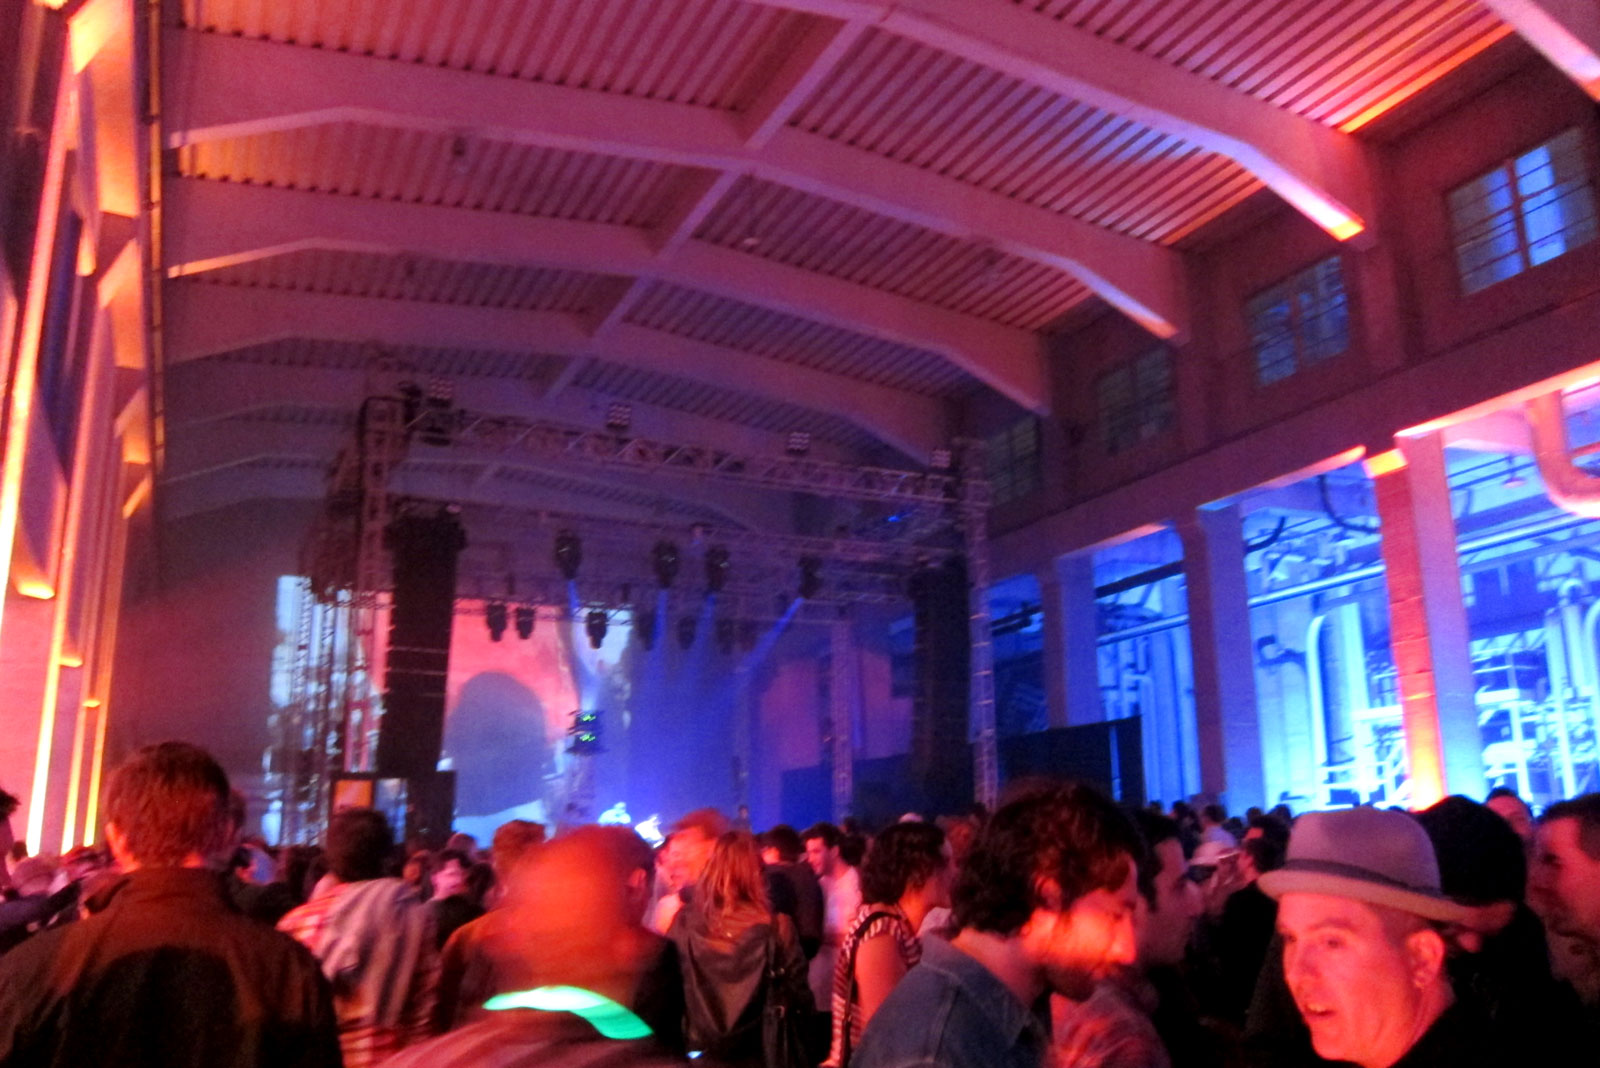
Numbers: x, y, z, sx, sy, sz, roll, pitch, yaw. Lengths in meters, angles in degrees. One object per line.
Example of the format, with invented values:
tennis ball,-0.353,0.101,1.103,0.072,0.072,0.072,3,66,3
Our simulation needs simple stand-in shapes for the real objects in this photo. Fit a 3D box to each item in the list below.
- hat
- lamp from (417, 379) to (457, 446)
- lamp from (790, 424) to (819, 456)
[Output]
hat,2.014,1.155,4.391,0.569,0.213,0.479,5,-19,11
lamp,-5.122,-1.714,17.657,0.482,0.801,0.795,6,-17,-19
lamp,0.059,-1.556,19.992,0.590,0.542,0.404,5,-3,2
